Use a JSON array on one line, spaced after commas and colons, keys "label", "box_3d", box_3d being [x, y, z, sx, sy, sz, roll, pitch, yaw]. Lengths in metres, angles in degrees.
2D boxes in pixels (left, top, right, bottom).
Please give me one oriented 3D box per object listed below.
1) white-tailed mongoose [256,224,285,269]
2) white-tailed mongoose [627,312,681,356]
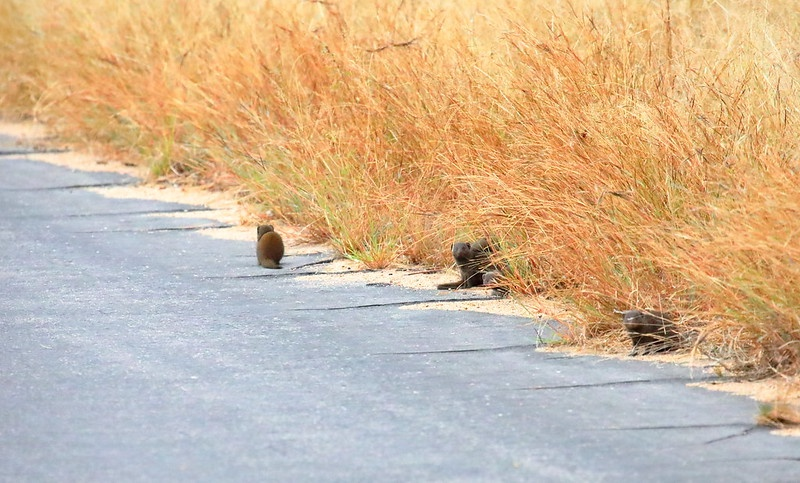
[{"label": "white-tailed mongoose", "box_3d": [-0.943, 0.027, 6.827, 0.154, 0.152, 0.410, -3, 18, -7]}, {"label": "white-tailed mongoose", "box_3d": [1.342, 0.455, 4.842, 0.320, 0.225, 0.087, -2, 21, -12]}]
